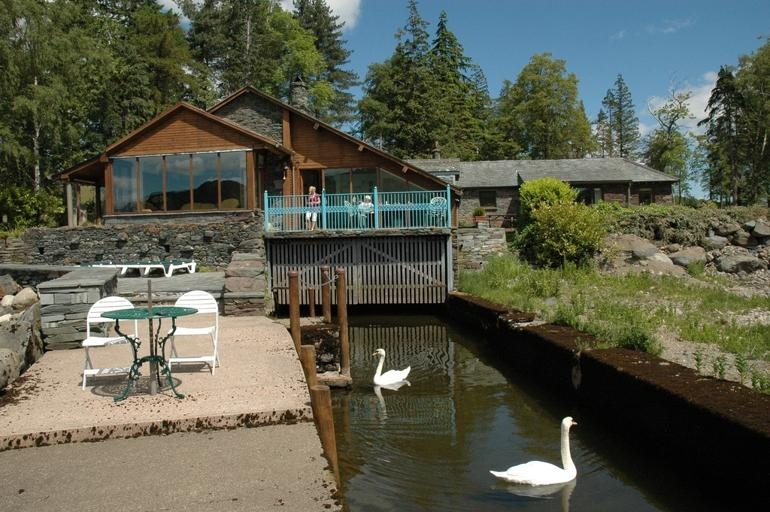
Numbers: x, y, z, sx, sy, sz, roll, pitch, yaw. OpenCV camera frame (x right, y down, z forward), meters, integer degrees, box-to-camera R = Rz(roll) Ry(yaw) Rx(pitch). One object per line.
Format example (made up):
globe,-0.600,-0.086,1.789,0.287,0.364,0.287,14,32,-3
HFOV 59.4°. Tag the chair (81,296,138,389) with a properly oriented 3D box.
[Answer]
chair,-7.071,1.961,17.010,1.411,2.127,1.647,4,6,-30

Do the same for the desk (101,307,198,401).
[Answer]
desk,-5.441,2.200,16.055,2.314,1.953,2.251,-1,1,6
